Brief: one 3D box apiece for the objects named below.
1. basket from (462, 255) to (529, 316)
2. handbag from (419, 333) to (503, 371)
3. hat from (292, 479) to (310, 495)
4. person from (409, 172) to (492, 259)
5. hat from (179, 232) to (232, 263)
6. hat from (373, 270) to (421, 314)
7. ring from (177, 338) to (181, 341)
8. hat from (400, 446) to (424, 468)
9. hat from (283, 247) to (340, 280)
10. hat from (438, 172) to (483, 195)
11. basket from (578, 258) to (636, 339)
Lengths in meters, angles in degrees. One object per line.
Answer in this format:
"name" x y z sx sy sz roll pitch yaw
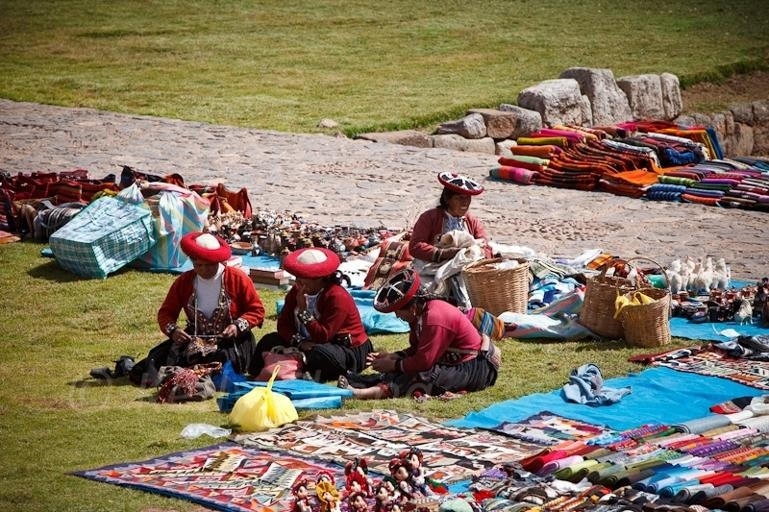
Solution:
"basket" 1.619 0.403 17.221 0.997 0.867 0.795 -3 9 -11
"handbag" 1.168 1.321 15.418 0.794 0.298 0.452 -5 19 -5
"hat" -0.982 2.672 13.025 0.168 0.184 0.170 -2 4 -8
"person" 1.038 -0.593 17.362 1.469 1.205 1.078 -1 4 -39
"hat" -2.463 -0.091 15.471 0.597 0.195 0.428 8 39 -17
"hat" 0.163 0.457 15.165 0.621 0.560 0.236 -2 5 -1
"ring" -2.843 1.156 15.524 0.066 0.034 0.014 -1 5 6
"hat" 0.312 2.382 13.247 0.289 0.191 0.218 -1 -17 37
"hat" -1.018 0.100 15.517 0.738 0.406 0.358 -2 4 -5
"hat" 1.140 -1.101 17.125 0.620 0.341 0.374 -1 4 1
"basket" 3.378 0.583 17.005 1.000 1.174 1.013 3 -7 14
